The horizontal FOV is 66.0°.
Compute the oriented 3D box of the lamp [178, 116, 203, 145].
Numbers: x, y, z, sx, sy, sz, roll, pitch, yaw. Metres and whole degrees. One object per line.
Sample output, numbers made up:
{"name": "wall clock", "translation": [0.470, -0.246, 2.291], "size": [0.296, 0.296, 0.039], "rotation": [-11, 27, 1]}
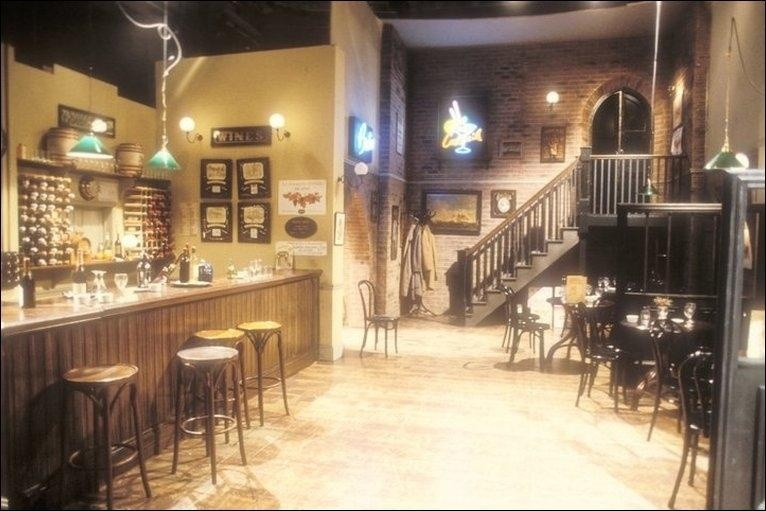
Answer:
{"name": "lamp", "translation": [-2.990, -1.943, 9.106], "size": [0.432, 0.409, 0.260], "rotation": [2, 12, 3]}

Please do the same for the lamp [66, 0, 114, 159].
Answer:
{"name": "lamp", "translation": [-4.233, -2.006, 8.484], "size": [0.546, 1.276, 2.031], "rotation": [-4, 13, -25]}

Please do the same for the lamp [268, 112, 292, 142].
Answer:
{"name": "lamp", "translation": [-1.542, -1.923, 8.808], "size": [0.337, 0.397, 0.214], "rotation": [0, 12, -7]}

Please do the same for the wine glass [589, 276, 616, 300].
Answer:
{"name": "wine glass", "translation": [3.601, 0.539, 9.644], "size": [0.316, 0.311, 0.584], "rotation": [2, -5, 22]}

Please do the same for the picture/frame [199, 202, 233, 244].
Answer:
{"name": "picture/frame", "translation": [-2.572, -0.531, 9.168], "size": [0.660, 0.735, 0.080], "rotation": [1, 2, 13]}

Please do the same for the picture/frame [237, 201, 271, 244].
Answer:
{"name": "picture/frame", "translation": [-1.948, -0.525, 8.992], "size": [0.670, 0.760, 0.084], "rotation": [0, 5, 11]}

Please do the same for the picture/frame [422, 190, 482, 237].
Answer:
{"name": "picture/frame", "translation": [1.570, -0.905, 12.883], "size": [1.048, 0.858, 0.089], "rotation": [2, 7, 17]}

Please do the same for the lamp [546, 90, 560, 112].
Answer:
{"name": "lamp", "translation": [3.577, -3.260, 12.392], "size": [0.306, 0.435, 0.248], "rotation": [4, 13, 15]}

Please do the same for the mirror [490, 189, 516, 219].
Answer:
{"name": "mirror", "translation": [2.604, -1.121, 12.586], "size": [0.758, 0.844, 0.123], "rotation": [1, 1, 10]}

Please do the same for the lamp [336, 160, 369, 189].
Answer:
{"name": "lamp", "translation": [-0.497, -1.415, 10.488], "size": [0.365, 0.314, 0.613], "rotation": [0, 2, 4]}

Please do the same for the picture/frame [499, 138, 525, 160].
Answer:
{"name": "picture/frame", "translation": [2.794, -2.296, 12.640], "size": [0.489, 0.409, 0.048], "rotation": [1, 0, 9]}

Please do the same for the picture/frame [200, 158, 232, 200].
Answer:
{"name": "picture/frame", "translation": [-2.553, -1.208, 9.086], "size": [0.660, 0.734, 0.076], "rotation": [1, 7, 12]}
